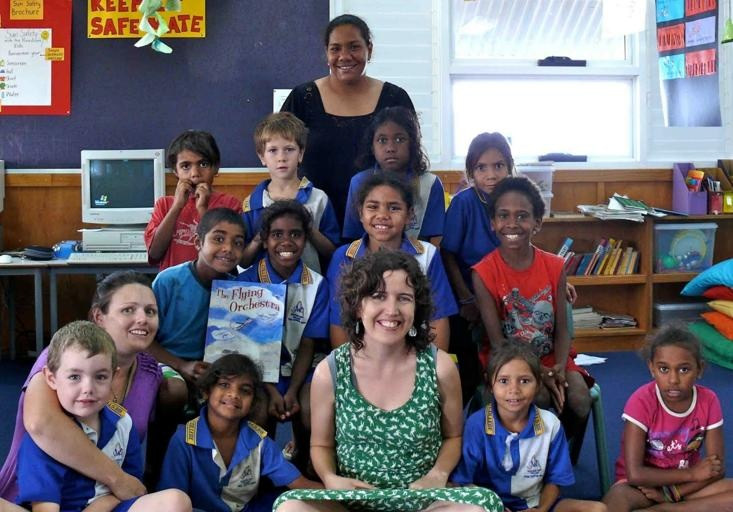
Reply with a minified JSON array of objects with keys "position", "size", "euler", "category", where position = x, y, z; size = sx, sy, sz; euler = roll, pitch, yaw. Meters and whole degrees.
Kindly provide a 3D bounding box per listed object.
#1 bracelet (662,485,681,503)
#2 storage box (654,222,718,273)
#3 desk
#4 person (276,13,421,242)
[{"position":[1.320,1.023,3.052],"size":[0.081,0.065,0.034],"euler":[1,7,20],"category":"bracelet"},{"position":[2.374,-0.063,5.391],"size":[0.623,0.408,0.344],"euler":[-1,0,-8],"category":"storage box"},{"position":[-1.624,0.251,3.961],"size":[0.783,0.476,0.385],"euler":[-1,8,-4],"category":"desk"},{"position":[-0.089,-0.535,3.964],"size":[0.794,1.480,0.525],"euler":[-2,21,-4],"category":"person"}]
